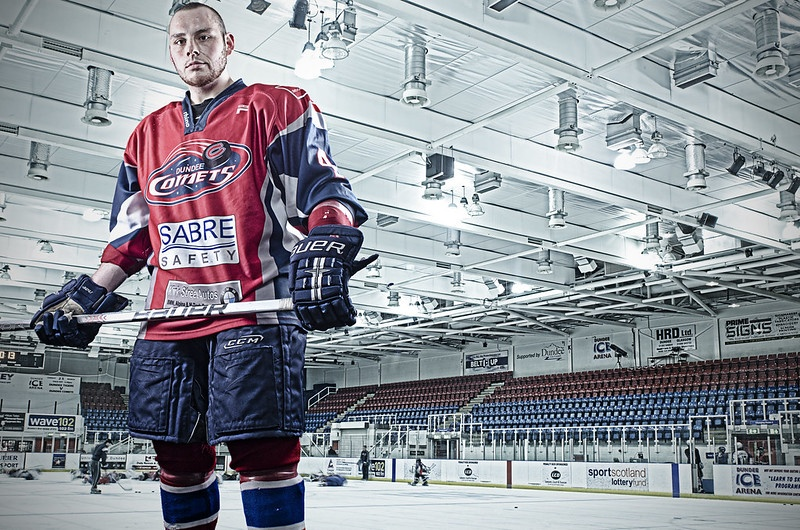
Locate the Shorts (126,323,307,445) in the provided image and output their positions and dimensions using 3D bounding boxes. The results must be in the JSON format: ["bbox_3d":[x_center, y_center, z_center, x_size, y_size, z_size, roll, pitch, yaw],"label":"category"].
[{"bbox_3d":[-1.393,0.937,5.527,1.606,0.848,0.812,-9,-14,25],"label":"Shorts"}]
